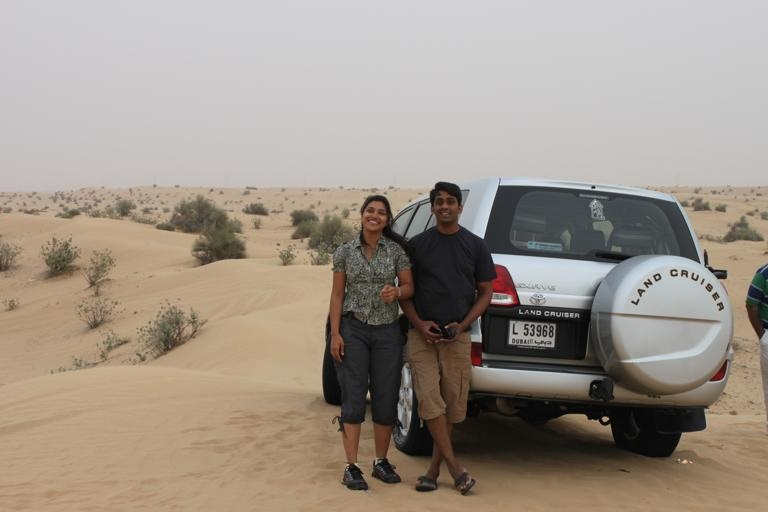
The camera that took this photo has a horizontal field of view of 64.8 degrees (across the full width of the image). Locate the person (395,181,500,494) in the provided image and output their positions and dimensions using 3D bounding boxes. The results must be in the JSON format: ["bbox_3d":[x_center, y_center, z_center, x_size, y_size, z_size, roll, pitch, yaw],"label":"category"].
[{"bbox_3d":[0.625,0.828,6.230,0.953,3.122,0.571,3,4,14],"label":"person"}]

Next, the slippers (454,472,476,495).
[{"bbox_3d":[0.813,2.280,6.121,0.205,0.234,0.227,2,4,4],"label":"slippers"}]

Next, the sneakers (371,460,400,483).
[{"bbox_3d":[0.023,2.271,6.371,0.150,0.146,0.354,1,-9,-28],"label":"sneakers"}]
